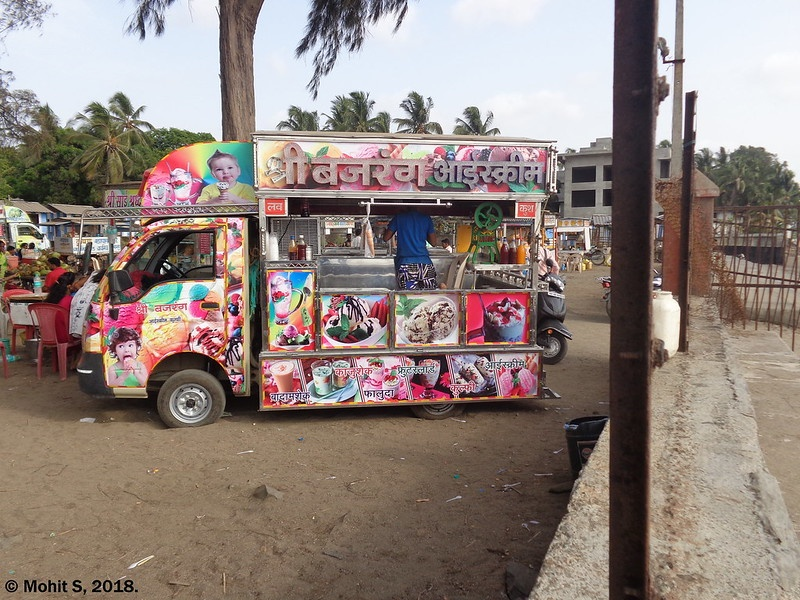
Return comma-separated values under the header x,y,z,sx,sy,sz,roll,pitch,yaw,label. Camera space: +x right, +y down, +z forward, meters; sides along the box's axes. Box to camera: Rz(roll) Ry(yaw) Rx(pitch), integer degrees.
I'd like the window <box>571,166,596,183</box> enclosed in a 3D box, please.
x,y,z,sx,sy,sz,roll,pitch,yaw,label
14.351,-9.820,50.494,1.920,1.439,1.102,0,5,13,window

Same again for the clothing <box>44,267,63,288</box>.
x,y,z,sx,sy,sz,roll,pitch,yaw,label
-5.946,-0.397,11.100,0.248,0.427,0.455,12,-4,-26,clothing

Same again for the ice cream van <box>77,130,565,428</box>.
x,y,z,sx,sy,sz,roll,pitch,yaw,label
-0.925,-0.199,8.430,5.566,3.364,2.087,0,-2,-12,ice cream van

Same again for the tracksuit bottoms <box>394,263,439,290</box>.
x,y,z,sx,sy,sz,roll,pitch,yaw,label
0.208,-0.309,8.280,0.522,0.402,0.314,-1,2,-1,tracksuit bottoms

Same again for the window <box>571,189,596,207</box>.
x,y,z,sx,sy,sz,roll,pitch,yaw,label
14.531,-8.026,51.044,2.019,1.444,1.151,1,4,26,window
